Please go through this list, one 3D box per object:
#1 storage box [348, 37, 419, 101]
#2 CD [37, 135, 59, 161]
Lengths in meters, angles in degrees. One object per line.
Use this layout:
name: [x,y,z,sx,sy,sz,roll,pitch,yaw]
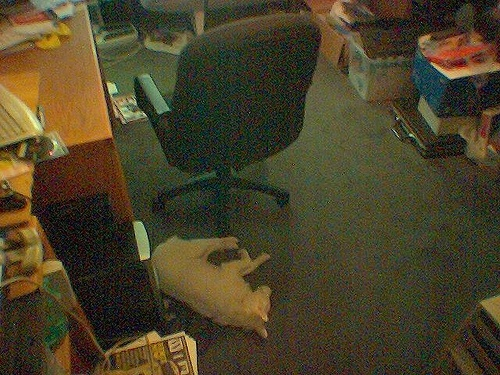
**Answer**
storage box: [0.695,-0.615,2.419,0.296,0.209,0.317,-15,50,-6]
CD: [-0.584,-0.114,1.320,0.054,0.081,0.067,5,-7,-16]
